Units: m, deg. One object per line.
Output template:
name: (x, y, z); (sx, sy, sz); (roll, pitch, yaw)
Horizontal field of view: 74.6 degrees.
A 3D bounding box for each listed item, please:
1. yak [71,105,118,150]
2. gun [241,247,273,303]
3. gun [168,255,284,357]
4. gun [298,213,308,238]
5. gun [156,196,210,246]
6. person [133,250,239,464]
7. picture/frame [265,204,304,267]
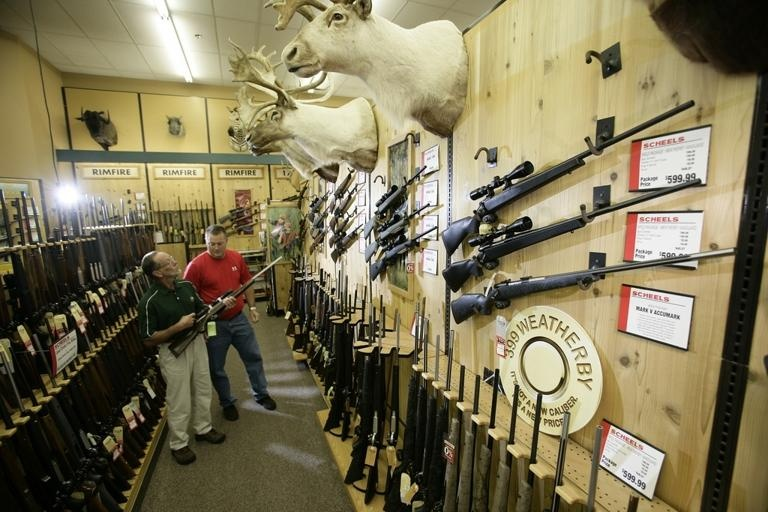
yak: (-4.733, -2.236, 8.412); (0.487, 0.321, 0.816); (-1, 4, -18)
gun: (-1.990, 0.247, 7.953); (0.393, 0.830, 0.817); (-3, 9, -7)
gun: (-1.731, 0.584, 5.663); (0.165, 0.371, 2.160); (-32, 8, 44)
gun: (-1.374, -0.501, 8.501); (0.155, 0.452, 0.115); (7, -1, -41)
gun: (-3.548, -0.621, 9.078); (0.949, 0.938, 0.401); (4, 6, -18)
person: (-1.859, 0.956, 4.795); (0.518, 2.050, 0.674); (6, 16, 34)
picture/frame: (-1.653, -0.390, 8.414); (0.572, 1.015, 0.031); (-1, -16, -11)
